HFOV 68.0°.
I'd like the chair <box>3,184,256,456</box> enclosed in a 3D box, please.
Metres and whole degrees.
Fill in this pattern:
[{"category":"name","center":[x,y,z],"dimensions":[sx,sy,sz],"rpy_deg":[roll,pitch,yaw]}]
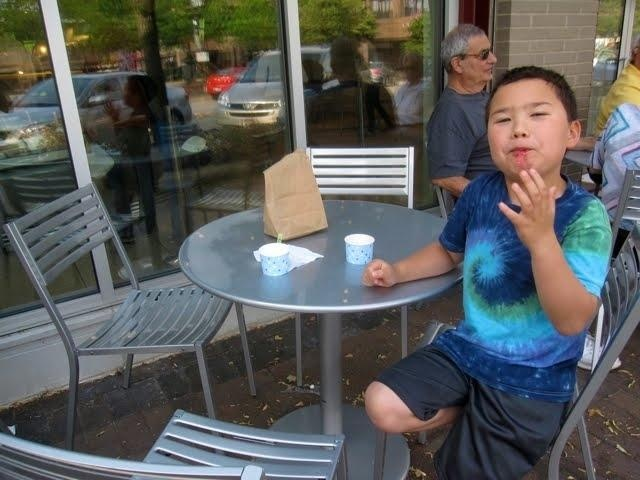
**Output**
[{"category":"chair","center":[-0.741,0.126,2.703],"dimensions":[1.150,1.752,0.976],"rpy_deg":[4,22,6]}]

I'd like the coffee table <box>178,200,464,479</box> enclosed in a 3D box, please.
[{"category":"coffee table","center":[0.003,0.279,2.214],"dimensions":[1.101,0.906,1.137],"rpy_deg":[3,32,7]}]

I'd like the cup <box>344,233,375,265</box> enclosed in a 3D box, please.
[{"category":"cup","center":[0.149,0.035,1.809],"dimensions":[0.100,0.077,0.105],"rpy_deg":[-1,17,0]}]

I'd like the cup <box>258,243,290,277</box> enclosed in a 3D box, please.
[{"category":"cup","center":[-0.154,0.063,1.735],"dimensions":[0.108,0.085,0.105],"rpy_deg":[0,31,0]}]
